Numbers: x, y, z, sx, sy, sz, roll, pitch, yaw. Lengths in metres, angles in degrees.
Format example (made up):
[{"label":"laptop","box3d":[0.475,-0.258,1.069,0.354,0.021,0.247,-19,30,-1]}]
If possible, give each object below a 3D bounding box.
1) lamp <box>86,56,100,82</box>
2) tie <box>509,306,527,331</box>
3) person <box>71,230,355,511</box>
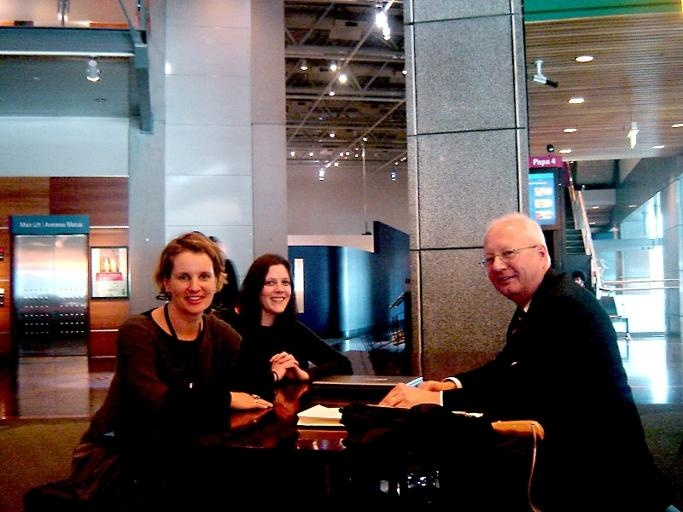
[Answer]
[{"label":"lamp","box3d":[-3.213,-2.416,7.815,0.180,0.255,0.362,-2,-1,-21]},{"label":"tie","box3d":[0.890,0.321,3.037,0.037,0.105,0.082,18,20,-19]},{"label":"person","box3d":[-0.800,0.430,2.655,0.697,1.093,0.676,-2,-1,-12]}]
